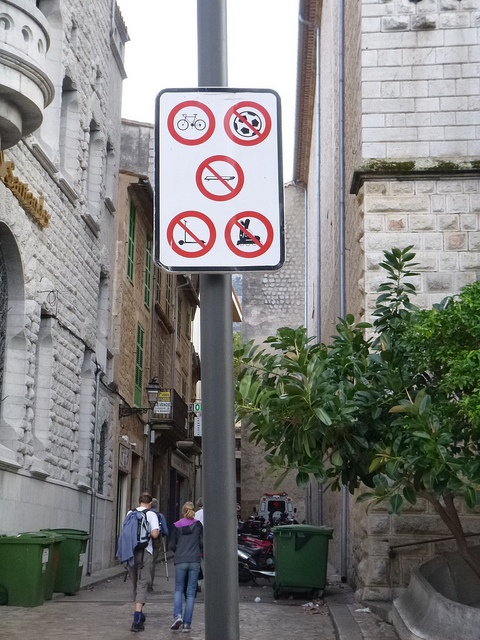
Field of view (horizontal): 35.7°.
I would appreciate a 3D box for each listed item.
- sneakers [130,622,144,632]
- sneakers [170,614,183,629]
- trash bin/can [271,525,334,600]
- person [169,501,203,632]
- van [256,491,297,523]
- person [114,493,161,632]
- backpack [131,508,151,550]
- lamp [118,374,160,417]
[{"bbox_3d":[-1.217,3.635,8.804,0.070,0.093,0.186,1,-2,14],"label":"sneakers"},{"bbox_3d":[-0.768,3.645,8.965,0.074,0.087,0.215,18,-54,-21],"label":"sneakers"},{"bbox_3d":[0.935,3.912,12.074,0.969,1.309,1.017,1,-24,1],"label":"trash bin/can"},{"bbox_3d":[-0.702,3.254,9.622,0.416,1.329,1.146,0,-15,-4],"label":"person"},{"bbox_3d":[1.446,7.418,29.659,1.372,1.531,2.422,0,-6,4],"label":"van"},{"bbox_3d":[-1.341,3.066,9.652,0.532,1.629,1.399,1,-15,-7],"label":"person"},{"bbox_3d":[-1.329,2.798,9.877,0.310,0.450,0.241,-2,-38,0],"label":"backpack"},{"bbox_3d":[-2.984,2.438,21.636,1.065,1.028,3.662,2,-16,-9],"label":"lamp"}]
